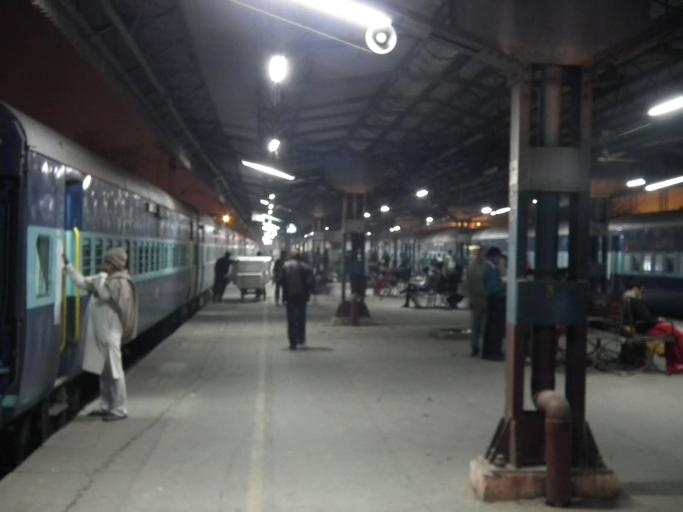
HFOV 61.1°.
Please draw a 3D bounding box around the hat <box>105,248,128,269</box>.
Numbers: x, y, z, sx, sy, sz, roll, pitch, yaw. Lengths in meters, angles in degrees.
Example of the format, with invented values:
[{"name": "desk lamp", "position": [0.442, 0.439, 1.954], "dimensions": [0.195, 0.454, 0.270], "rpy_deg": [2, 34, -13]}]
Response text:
[{"name": "hat", "position": [-3.182, -0.001, 8.217], "dimensions": [0.328, 0.327, 0.275], "rpy_deg": [15, 17, 41]}]
